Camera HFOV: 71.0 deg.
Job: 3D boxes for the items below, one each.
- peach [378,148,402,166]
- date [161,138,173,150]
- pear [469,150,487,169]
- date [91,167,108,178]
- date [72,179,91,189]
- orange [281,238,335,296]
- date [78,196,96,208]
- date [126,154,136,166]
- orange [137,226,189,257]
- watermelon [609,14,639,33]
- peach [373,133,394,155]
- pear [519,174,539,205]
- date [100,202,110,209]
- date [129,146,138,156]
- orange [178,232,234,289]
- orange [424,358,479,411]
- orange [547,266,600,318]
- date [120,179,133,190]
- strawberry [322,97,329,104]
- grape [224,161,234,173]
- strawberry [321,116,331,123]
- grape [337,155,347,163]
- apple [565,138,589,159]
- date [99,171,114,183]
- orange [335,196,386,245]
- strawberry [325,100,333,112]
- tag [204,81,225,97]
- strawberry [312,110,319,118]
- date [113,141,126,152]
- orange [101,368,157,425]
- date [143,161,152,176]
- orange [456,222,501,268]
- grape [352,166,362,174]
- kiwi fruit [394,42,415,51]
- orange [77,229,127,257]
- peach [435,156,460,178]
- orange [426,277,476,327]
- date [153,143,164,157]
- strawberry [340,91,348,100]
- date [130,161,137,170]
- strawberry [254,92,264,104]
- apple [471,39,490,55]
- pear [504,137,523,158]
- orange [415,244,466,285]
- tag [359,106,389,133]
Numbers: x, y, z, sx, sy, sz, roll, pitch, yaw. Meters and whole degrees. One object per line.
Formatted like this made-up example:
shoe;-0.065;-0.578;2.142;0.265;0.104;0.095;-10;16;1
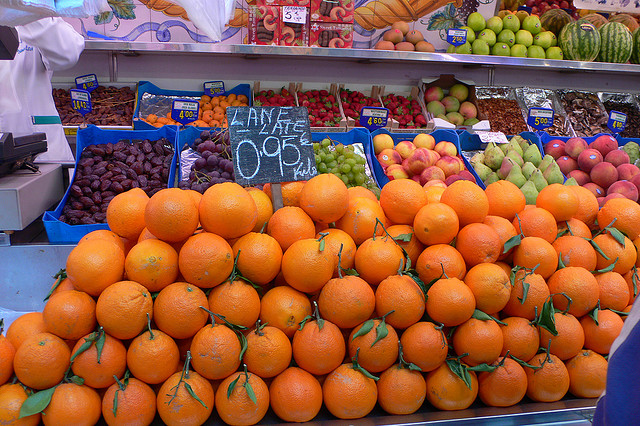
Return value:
peach;0.567;-0.435;3.600;0.139;0.138;0.145;-11;-11;-34
date;-1.208;-0.545;3.550;0.057;0.024;0.093;-9;71;-52
pear;1.259;-0.428;3.558;0.046;0.105;0.117;39;-7;-13
date;-1.576;-0.284;3.212;0.075;0.042;0.059;-7;21;-24
date;-1.654;-0.192;3.107;0.101;0.034;0.056;-6;6;-19
orange;-0.071;0.212;2.044;0.233;0.271;0.232;-6;23;-14
date;-1.599;-0.077;3.076;0.092;0.051;0.063;32;14;15
date;-1.404;-0.388;3.326;0.045;0.025;0.073;13;57;0
orange;-0.719;0.120;2.062;0.141;0.172;0.145;4;7;32
watermelon;3.469;-2.151;5.145;0.269;0.183;0.319;-1;19;10
peach;0.521;-0.569;3.783;0.164;0.160;0.154;-1;9;-11
pear;1.304;-0.123;2.782;0.134;0.193;0.139;0;4;14
date;-1.415;-0.045;2.941;0.039;0.012;0.030;-25;32;-6
date;-1.408;-0.461;3.375;0.046;0.020;0.075;-19;56;-33
orange;-0.494;0.213;1.959;0.234;0.208;0.146;4;32;-5
orange;0.569;0.776;2.061;0.219;0.220;0.217;3;62;-3
orange;1.195;0.382;2.139;0.227;0.234;0.154;-1;33;-13
date;-1.383;-0.198;3.209;0.064;0.036;0.052;-26;75;-9
strawberry;0.056;-1.150;4.654;0.070;0.036;0.052;33;69;26
grape;-0.649;-0.320;3.197;0.077;0.090;0.074;-2;23;-8
strawberry;0.056;-0.908;4.403;0.063;0.042;0.076;-3;8;-1
grape;0.156;-0.379;3.198;0.049;0.059;0.047;26;-16;-10
apple;1.978;-0.501;3.494;0.154;0.165;0.166;-2;17;47
date;-1.527;-0.249;3.195;0.048;0.028;0.079;42;61;6
orange;0.190;0.012;2.243;0.225;0.225;0.216;-6;18;-6
strawberry;0.091;-1.080;4.569;0.078;0.049;0.130;6;33;-3
tag;-1.095;-1.264;4.608;0.206;0.146;0.054;-7;10;-16
strawberry;-0.043;-0.974;4.428;0.057;0.069;0.057;-29;28;9
date;-1.520;-0.500;3.405;0.089;0.025;0.130;8;33;1
orange;-0.786;0.765;1.838;0.198;0.180;0.155;17;34;14
date;-1.276;-0.323;3.304;0.057;0.031;0.094;-3;71;-4
orange;0.765;0.147;2.151;0.187;0.217;0.182;-6;11;6
grape;0.264;-0.300;3.211;0.070;0.058;0.023;-13;38;-29
kiwi fruit;0.843;-1.642;4.473;0.156;0.082;0.157;0;20;-1
orange;-1.009;0.111;2.085;0.151;0.151;0.149;2;11;-2
peach;0.988;-0.348;3.427;0.149;0.174;0.156;-9;21;23
orange;0.589;0.401;2.042;0.225;0.225;0.227;-6;7;-9
date;-1.237;-0.478;3.448;0.024;0.082;0.083;-26;11;40
strawberry;0.252;-1.226;4.727;0.064;0.065;0.064;0;26;-3
date;-1.364;-0.346;3.286;0.023;0.046;0.045;-3;-16;-41
strawberry;-0.634;-1.178;4.625;0.109;0.075;0.134;23;5;-27
apple;1.642;-1.670;4.565;0.191;0.131;0.165;10;33;4
pear;1.543;-0.514;3.536;0.128;0.179;0.132;1;5;42
orange;0.560;0.227;2.137;0.215;0.183;0.187;-6;71;0
tag;0.523;-0.905;4.319;0.272;0.218;0.145;5;32;-4
